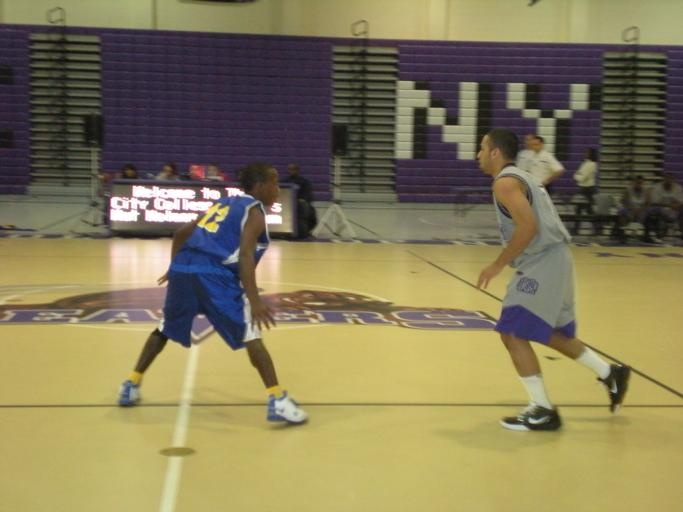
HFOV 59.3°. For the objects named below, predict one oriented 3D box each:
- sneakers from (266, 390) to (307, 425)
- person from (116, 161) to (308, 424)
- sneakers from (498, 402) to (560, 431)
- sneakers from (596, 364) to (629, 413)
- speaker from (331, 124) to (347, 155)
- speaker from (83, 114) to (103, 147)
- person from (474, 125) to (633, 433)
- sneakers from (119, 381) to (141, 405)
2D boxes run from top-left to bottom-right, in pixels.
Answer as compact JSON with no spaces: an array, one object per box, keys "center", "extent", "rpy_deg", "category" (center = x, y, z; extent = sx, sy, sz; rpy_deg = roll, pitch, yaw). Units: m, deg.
[{"center":[-0.340,0.925,3.616],"extent":[0.319,0.186,0.125],"rpy_deg":[2,-2,-16],"category":"sneakers"},{"center":[-0.669,0.202,3.802],"extent":[1.080,1.552,0.414],"rpy_deg":[6,12,27],"category":"person"},{"center":[1.175,0.997,3.731],"extent":[0.408,0.166,0.139],"rpy_deg":[2,-1,-1],"category":"sneakers"},{"center":[1.746,0.817,3.875],"extent":[0.177,0.353,0.121],"rpy_deg":[-2,12,3],"category":"sneakers"},{"center":[-0.063,-2.520,13.177],"extent":[0.299,0.649,0.307],"rpy_deg":[1,10,-3],"category":"speaker"},{"center":[-5.813,-2.922,14.040],"extent":[0.417,0.725,0.303],"rpy_deg":[-4,11,-26],"category":"speaker"},{"center":[1.281,0.136,3.751],"extent":[0.921,1.809,0.610],"rpy_deg":[3,10,10],"category":"person"},{"center":[-1.343,0.886,3.888],"extent":[0.111,0.167,0.174],"rpy_deg":[5,5,-8],"category":"sneakers"}]
